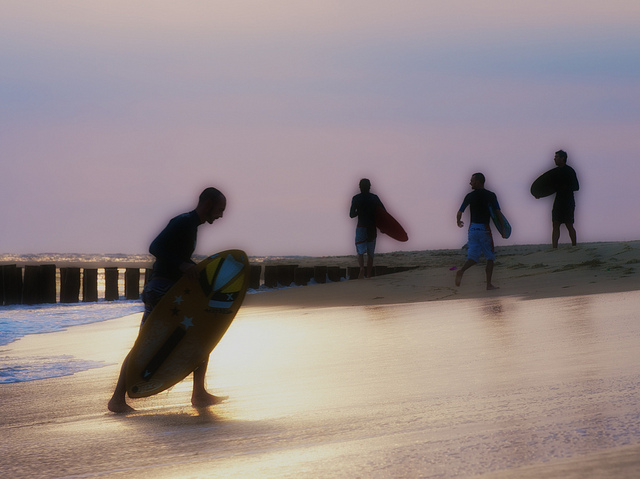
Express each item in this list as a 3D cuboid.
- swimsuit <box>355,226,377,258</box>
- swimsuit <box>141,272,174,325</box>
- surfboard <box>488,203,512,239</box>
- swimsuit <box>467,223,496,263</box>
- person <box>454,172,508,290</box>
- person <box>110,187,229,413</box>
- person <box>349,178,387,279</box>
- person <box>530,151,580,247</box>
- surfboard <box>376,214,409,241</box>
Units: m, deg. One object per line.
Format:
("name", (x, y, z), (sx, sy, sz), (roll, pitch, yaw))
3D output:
("swimsuit", (0.713, 0.009, 13.159), (0.322, 0.419, 0.396), (-3, -1, 2))
("swimsuit", (-1.070, 0.368, 5.796), (0.237, 0.269, 0.107), (-3, -1, 19))
("surfboard", (2.154, -0.253, 10.553), (0.230, 0.404, 0.137), (-4, -1, 32))
("swimsuit", (1.937, 0.009, 10.634), (0.289, 0.444, 0.427), (-3, -1, 8))
("person", (1.923, -0.129, 10.646), (0.643, 1.322, 1.034), (-3, -1, 8))
("person", (-0.970, 0.363, 5.724), (0.793, 1.168, 0.461), (-3, -1, -6))
("person", (0.736, -0.196, 13.152), (0.502, 1.336, 0.968), (-3, -1, 4))
("person", (3.511, -0.635, 13.137), (0.682, 1.378, 0.425), (-4, -1, 30))
("surfboard", (1.127, -0.204, 13.477), (0.094, 0.182, 0.958), (25, -6, 41))
